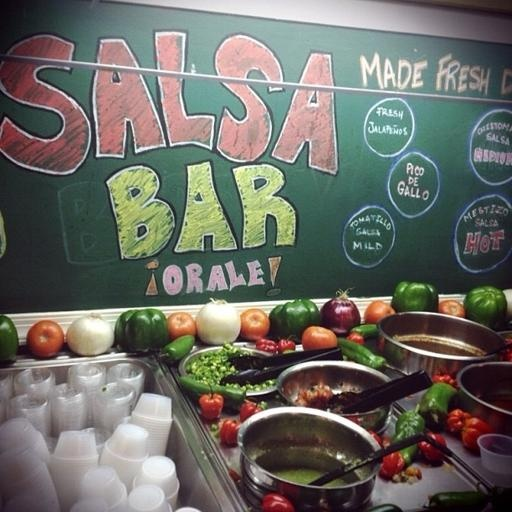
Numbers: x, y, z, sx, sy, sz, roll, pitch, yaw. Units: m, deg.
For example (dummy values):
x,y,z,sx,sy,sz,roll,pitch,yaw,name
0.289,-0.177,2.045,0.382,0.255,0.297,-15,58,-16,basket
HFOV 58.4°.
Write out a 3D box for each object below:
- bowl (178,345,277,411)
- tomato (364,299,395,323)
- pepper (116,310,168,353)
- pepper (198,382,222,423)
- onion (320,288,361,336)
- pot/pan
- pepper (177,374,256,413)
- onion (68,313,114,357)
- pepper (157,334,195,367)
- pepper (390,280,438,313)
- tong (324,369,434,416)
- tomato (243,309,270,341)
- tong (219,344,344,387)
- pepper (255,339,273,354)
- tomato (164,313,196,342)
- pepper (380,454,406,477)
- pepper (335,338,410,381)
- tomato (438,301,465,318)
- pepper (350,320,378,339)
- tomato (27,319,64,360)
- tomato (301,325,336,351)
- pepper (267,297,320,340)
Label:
x,y,z,sx,sy,sz,roll,pitch,yaw,name
-0.126,0.334,1.300,0.173,0.037,0.165,2,16,-1,bowl
0.468,0.211,1.751,0.091,0.094,0.091,-10,-24,-9,tomato
-0.372,0.215,1.456,0.134,0.132,0.140,-6,2,5,pepper
-0.114,0.367,1.161,0.057,0.082,0.054,0,11,-23,pepper
0.335,0.203,1.669,0.143,0.202,0.146,-1,-7,38,onion
0.635,0.296,1.603,0.247,0.060,0.246,-1,16,4,pot/pan
-0.105,0.346,1.211,0.203,0.068,0.068,12,-8,16,pepper
-0.494,0.233,1.401,0.126,0.130,0.125,1,2,-5,onion
-0.242,0.277,1.385,0.052,0.047,0.117,24,23,21,pepper
0.631,0.172,1.808,0.132,0.131,0.129,7,-5,1,pepper
0.312,0.354,1.184,0.253,0.059,0.065,-22,-39,24,tong
-0.009,0.247,1.646,0.094,0.098,0.095,11,-40,4,tomato
0.070,0.313,1.311,0.333,0.070,0.131,-9,20,2,tong
0.026,0.297,1.523,0.037,0.024,0.036,-3,16,-16,pepper
-0.249,0.226,1.506,0.080,0.098,0.081,0,20,-4,tomato
0.304,0.458,1.007,0.065,0.048,0.024,-2,3,-30,pepper
0.339,0.308,1.470,0.291,0.071,0.081,26,8,40,pepper
0.781,0.195,1.807,0.066,0.068,0.070,-6,40,9,tomato
0.406,0.275,1.675,0.104,0.056,0.032,-5,-6,-30,pepper
-0.619,0.240,1.335,0.105,0.109,0.106,5,-5,20,tomato
0.201,0.267,1.480,0.080,0.076,0.082,1,-7,-2,tomato
0.132,0.215,1.598,0.138,0.157,0.145,-5,-1,-3,pepper
